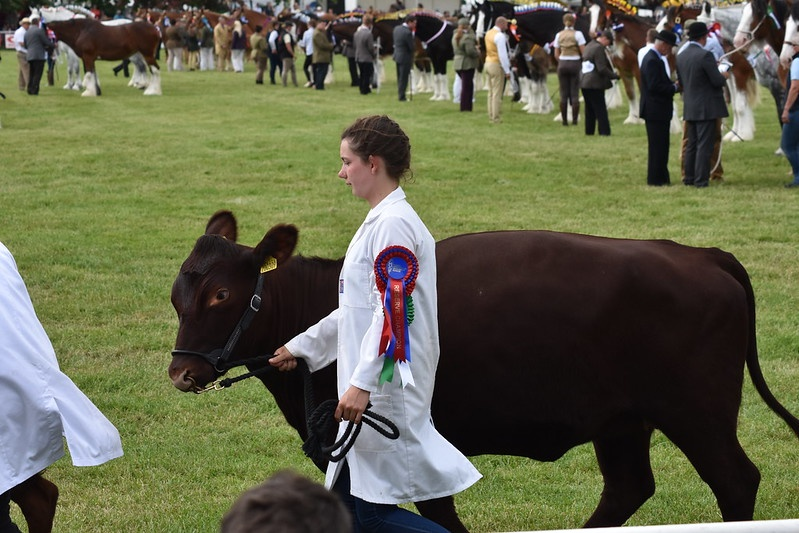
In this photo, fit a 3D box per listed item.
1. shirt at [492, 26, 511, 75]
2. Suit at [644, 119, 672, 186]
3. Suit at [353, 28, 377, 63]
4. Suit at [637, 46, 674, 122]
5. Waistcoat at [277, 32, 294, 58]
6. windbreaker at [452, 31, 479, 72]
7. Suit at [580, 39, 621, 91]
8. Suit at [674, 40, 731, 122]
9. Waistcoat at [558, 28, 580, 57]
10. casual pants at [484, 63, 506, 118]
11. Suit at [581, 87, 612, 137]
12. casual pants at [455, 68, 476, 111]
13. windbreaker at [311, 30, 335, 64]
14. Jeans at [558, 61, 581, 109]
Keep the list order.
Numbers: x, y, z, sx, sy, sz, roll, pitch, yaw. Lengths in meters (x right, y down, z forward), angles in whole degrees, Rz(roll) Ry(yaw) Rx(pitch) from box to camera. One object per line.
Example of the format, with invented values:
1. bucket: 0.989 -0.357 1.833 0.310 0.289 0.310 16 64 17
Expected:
1. shirt: 2.148 -4.480 25.577 0.369 1.227 0.301 -9 12 -31
2. Suit: 4.215 -1.860 20.131 0.398 1.058 0.274 3 8 13
3. Suit: -0.940 -5.655 31.539 0.570 0.854 0.498 5 4 22
4. Suit: 4.225 -2.995 20.253 0.594 1.189 0.566 3 9 16
5. Waistcoat: -3.177 -6.080 33.786 0.371 0.717 0.708 -5 -2 5
6. windbreaker: 1.480 -4.843 27.703 0.549 0.897 0.848 1 9 2
7. Suit: 3.791 -3.881 23.747 0.580 0.940 0.766 -3 15 -19
8. Suit: 4.869 -2.971 19.870 0.875 1.273 0.395 5 9 24
9. Waistcoat: 3.361 -4.461 24.550 0.461 0.510 0.388 2 9 7
10. casual pants: 1.996 -3.762 25.986 0.364 1.220 0.476 -12 16 -32
11. Suit: 3.834 -3.040 24.110 0.623 0.913 0.805 1 9 -2
12. casual pants: 1.524 -4.155 28.143 0.431 1.208 0.343 1 -5 13
13. windbreaker: -2.037 -5.888 32.646 0.665 1.130 0.913 -6 23 -15
14. Jeans: 3.434 -3.619 25.001 0.464 1.192 0.391 1 2 14
